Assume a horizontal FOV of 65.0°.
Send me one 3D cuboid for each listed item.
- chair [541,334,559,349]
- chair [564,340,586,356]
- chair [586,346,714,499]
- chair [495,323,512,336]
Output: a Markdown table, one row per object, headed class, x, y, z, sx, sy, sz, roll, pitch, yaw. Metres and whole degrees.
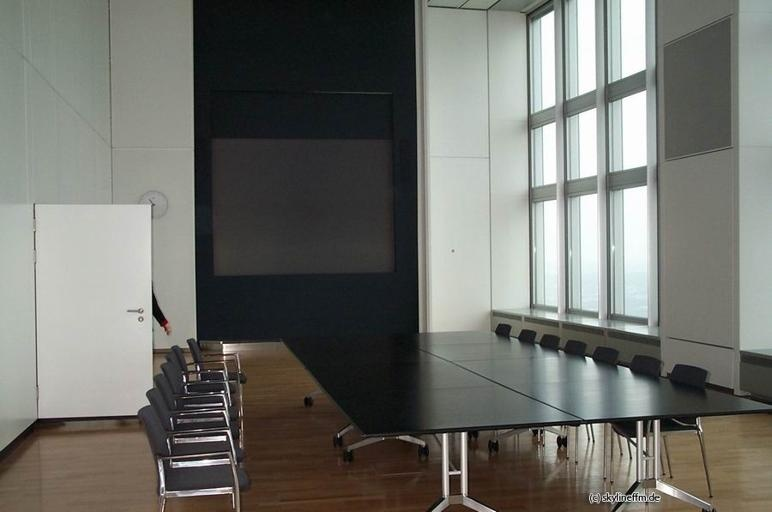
| class | x | y | z | sx | sy | sz | roll | pitch | yaw |
| --- | --- | --- | --- | --- | --- | --- | --- | --- | --- |
| chair | 2.184 | 1.144 | 8.154 | 0.181 | 0.251 | 0.207 | -3 | -6 | 38 |
| chair | 2.390 | 1.173 | 7.719 | 0.205 | 0.239 | 0.281 | 9 | 8 | 40 |
| chair | 2.805 | 1.710 | 6.717 | 1.293 | 1.981 | 1.177 | 1 | -3 | -9 |
| chair | 1.784 | 1.126 | 9.279 | 0.191 | 0.272 | 0.219 | -1 | -2 | 24 |
